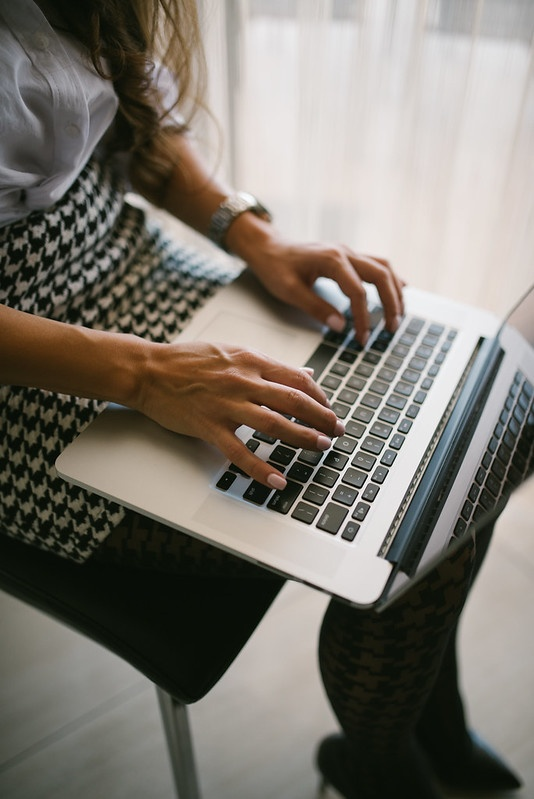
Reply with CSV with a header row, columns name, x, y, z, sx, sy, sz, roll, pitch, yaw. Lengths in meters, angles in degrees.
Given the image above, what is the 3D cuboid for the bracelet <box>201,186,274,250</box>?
name,x,y,z,sx,sy,sz,roll,pitch,yaw
bracelet,-0.041,-0.231,0.801,0.081,0.083,0.054,21,36,-26

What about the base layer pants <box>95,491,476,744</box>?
name,x,y,z,sx,sy,sz,roll,pitch,yaw
base layer pants,0.011,0.159,0.520,0.166,0.181,0.253,29,37,-17

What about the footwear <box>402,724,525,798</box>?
name,x,y,z,sx,sy,sz,roll,pitch,yaw
footwear,0.152,0.282,0.468,0.066,0.020,0.053,6,49,-11
